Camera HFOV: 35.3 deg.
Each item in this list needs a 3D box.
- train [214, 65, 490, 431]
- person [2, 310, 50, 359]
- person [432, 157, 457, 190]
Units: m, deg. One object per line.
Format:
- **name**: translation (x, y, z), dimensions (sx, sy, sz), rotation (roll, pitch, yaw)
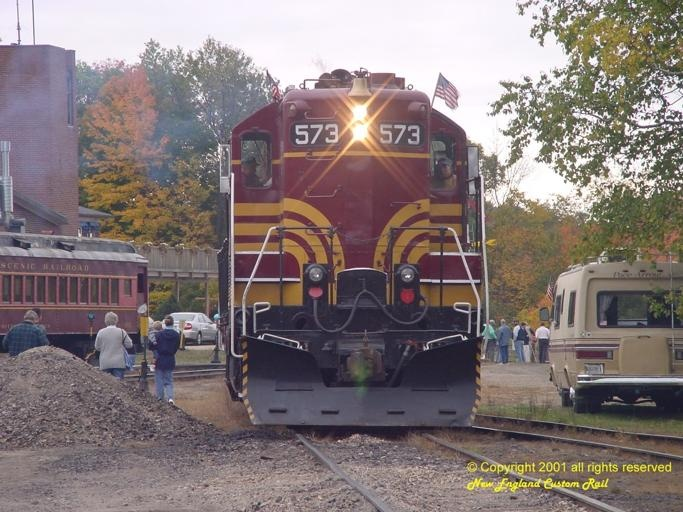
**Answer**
- **train**: translation (0.209, -0.156, 18.998), dimensions (4.483, 6.450, 1.880), rotation (0, 0, 3)
- **person**: translation (-6.531, 1.598, 22.128), dimensions (0.917, 0.913, 0.711), rotation (0, 0, -5)
- **person**: translation (1.872, -1.486, 19.751), dimensions (0.476, 0.839, 0.352), rotation (2, -19, -7)
